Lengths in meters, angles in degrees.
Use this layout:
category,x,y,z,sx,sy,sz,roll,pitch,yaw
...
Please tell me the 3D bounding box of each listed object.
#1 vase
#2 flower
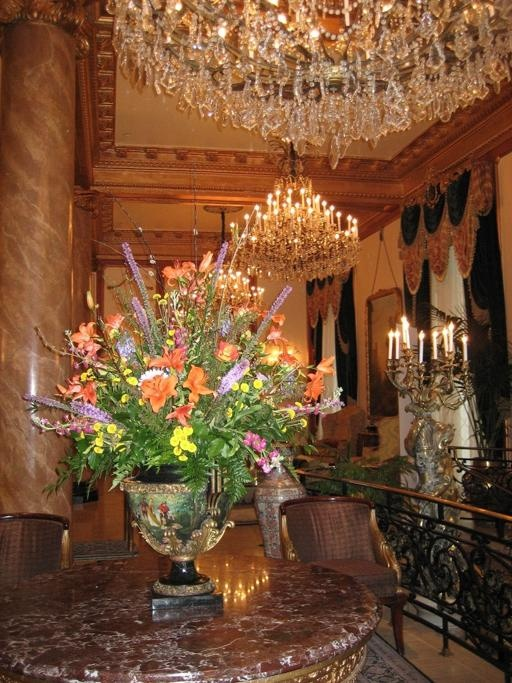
category,x,y,z,sx,sy,sz,roll,pitch,yaw
vase,-0.140,0.469,1.510,0.333,0.341,0.310,1,-12,-5
flower,-0.264,0.077,1.640,0.777,0.635,0.761,9,10,26
